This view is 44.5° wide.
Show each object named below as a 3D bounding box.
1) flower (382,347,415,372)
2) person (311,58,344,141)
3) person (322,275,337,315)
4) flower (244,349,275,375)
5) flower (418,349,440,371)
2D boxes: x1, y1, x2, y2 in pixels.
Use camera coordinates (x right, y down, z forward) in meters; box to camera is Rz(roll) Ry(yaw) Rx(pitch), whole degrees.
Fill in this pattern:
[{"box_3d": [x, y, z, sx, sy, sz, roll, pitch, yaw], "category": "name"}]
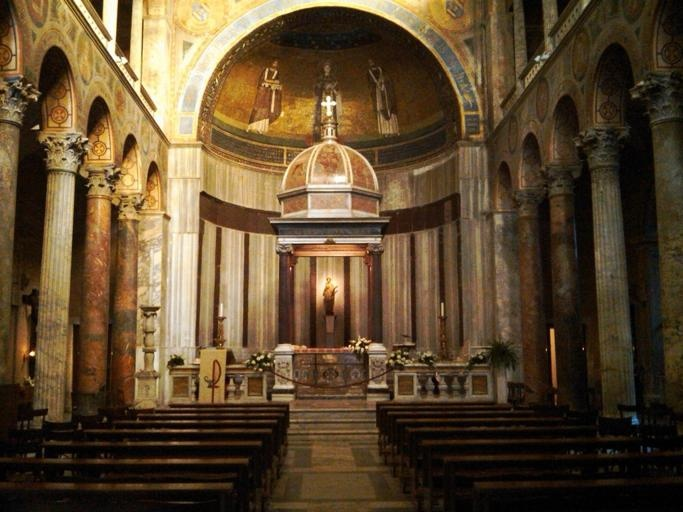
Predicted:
[{"box_3d": [1.425, 2.577, 20.765, 0.615, 0.417, 0.616, -6, -4, 18], "category": "flower"}, {"box_3d": [-0.468, -5.184, 27.904, 0.992, 2.524, 1.239, 0, -13, -3], "category": "person"}, {"box_3d": [-0.346, 1.190, 25.714, 0.394, 1.290, 0.771, 0, -13, -2], "category": "person"}, {"box_3d": [-1.957, 2.625, 20.746, 0.537, 0.510, 0.825, -11, -17, 38], "category": "flower"}, {"box_3d": [2.185, 2.559, 20.728, 0.497, 0.447, 0.382, 3, -14, -16], "category": "flower"}]
